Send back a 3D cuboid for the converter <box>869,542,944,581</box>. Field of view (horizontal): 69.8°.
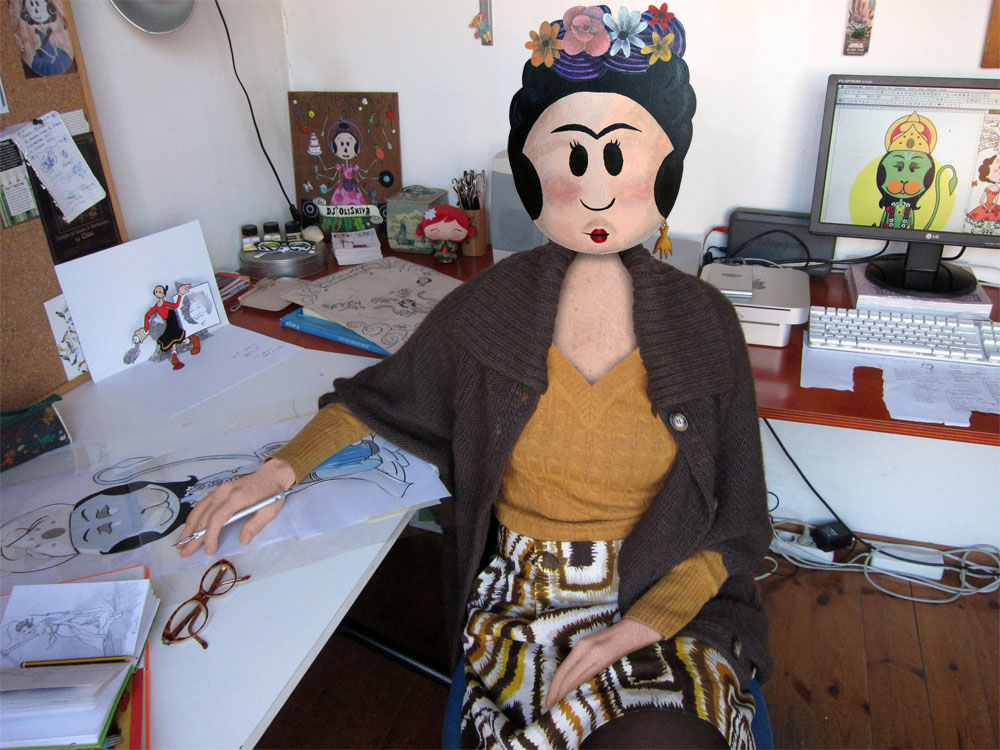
[{"bbox_3d":[1.076,0.491,1.896,0.179,0.061,0.065,8,26,19],"label":"converter"}]

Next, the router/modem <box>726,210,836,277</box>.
[{"bbox_3d":[0.649,-0.316,1.680,0.269,0.130,0.182,7,27,9],"label":"router/modem"}]

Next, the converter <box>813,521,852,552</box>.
[{"bbox_3d":[0.886,0.414,1.911,0.085,0.038,0.084,-16,37,-17],"label":"converter"}]

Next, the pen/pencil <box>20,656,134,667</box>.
[{"bbox_3d":[-0.490,0.332,0.831,0.121,0.009,0.009,1,27,-5],"label":"pen/pencil"}]
